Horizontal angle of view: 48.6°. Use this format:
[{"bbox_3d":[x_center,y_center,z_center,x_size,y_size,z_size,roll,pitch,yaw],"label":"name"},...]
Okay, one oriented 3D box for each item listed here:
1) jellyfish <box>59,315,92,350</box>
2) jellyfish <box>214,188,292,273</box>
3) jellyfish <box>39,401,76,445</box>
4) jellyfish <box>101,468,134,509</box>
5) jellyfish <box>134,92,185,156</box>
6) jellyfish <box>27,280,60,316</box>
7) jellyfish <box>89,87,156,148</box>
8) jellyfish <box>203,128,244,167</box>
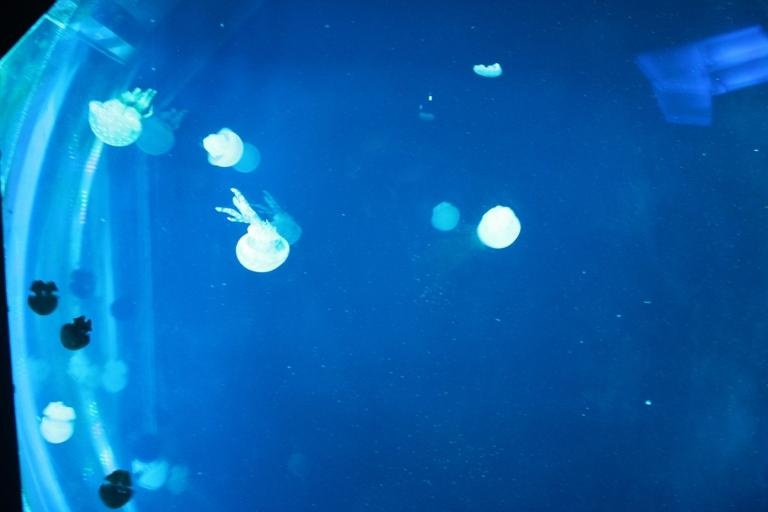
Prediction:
[{"bbox_3d":[-1.849,0.465,5.124,0.192,0.194,0.037,-9,-5,5],"label":"jellyfish"},{"bbox_3d":[-0.769,-0.160,5.085,0.374,0.474,0.337,-9,26,-14],"label":"jellyfish"},{"bbox_3d":[-1.954,1.002,5.104,0.198,0.252,0.118,-3,4,-12],"label":"jellyfish"},{"bbox_3d":[-1.608,1.407,5.131,0.210,0.227,0.038,-9,-5,5],"label":"jellyfish"},{"bbox_3d":[-1.335,-0.757,5.105,0.321,0.302,0.032,-10,-5,8],"label":"jellyfish"},{"bbox_3d":[-2.051,0.250,5.106,0.203,0.283,0.039,-1,4,-2],"label":"jellyfish"},{"bbox_3d":[-1.570,-0.838,5.163,0.347,0.372,0.360,-7,27,-15],"label":"jellyfish"},{"bbox_3d":[-0.945,-0.640,5.122,0.225,0.235,0.142,1,2,3],"label":"jellyfish"}]
